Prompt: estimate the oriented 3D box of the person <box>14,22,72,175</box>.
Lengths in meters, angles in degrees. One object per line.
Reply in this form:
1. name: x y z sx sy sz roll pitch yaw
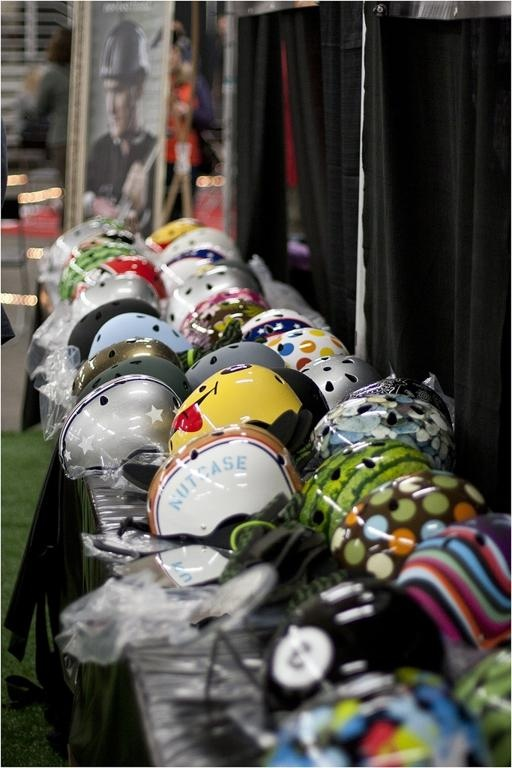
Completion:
1. person: -1.170 -1.523 3.541 0.259 0.819 1.175 -5 14 -21
